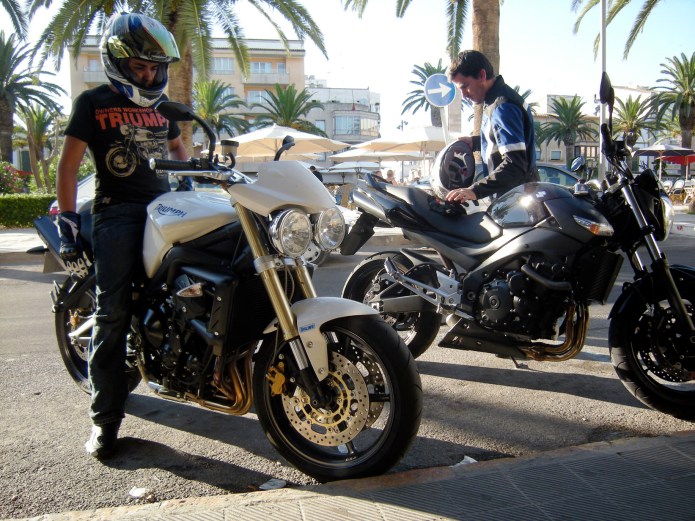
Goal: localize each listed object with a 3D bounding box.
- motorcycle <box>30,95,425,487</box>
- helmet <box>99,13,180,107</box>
[{"bbox_3d":[-0.460,0.307,2.805,1.707,1.674,0.477,4,11,31],"label":"motorcycle"},{"bbox_3d":[-1.277,-1.235,3.120,0.426,0.520,0.281,-4,10,-20],"label":"helmet"}]
